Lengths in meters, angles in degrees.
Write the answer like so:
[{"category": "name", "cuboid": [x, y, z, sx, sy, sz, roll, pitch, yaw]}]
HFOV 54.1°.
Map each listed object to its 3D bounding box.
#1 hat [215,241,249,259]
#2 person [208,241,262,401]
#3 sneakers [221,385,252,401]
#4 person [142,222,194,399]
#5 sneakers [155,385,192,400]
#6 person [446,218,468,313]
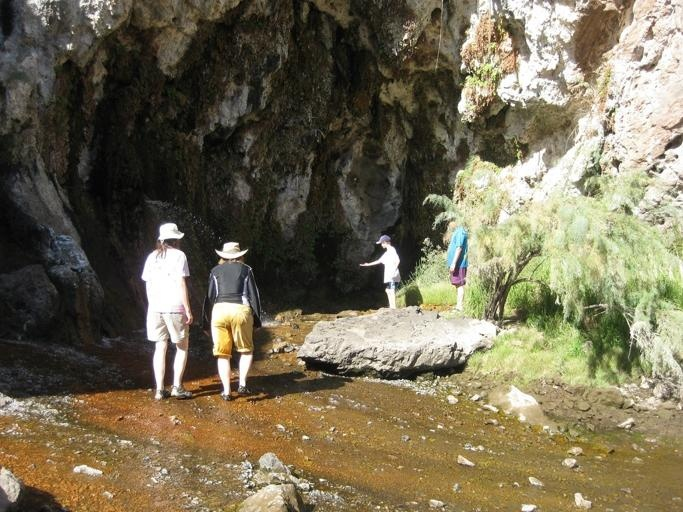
[{"category": "hat", "cuboid": [-1.290, -0.053, 8.205, 0.320, 0.157, 0.361, 1, 1, 30]}, {"category": "person", "cuboid": [-1.330, 0.796, 8.135, 0.669, 1.845, 0.799, 2, 13, -12]}, {"category": "sneakers", "cuboid": [-1.264, 1.650, 8.101, 0.371, 0.188, 0.141, 5, -5, -37]}, {"category": "person", "cuboid": [-2.032, 0.661, 7.847, 0.531, 2.016, 0.551, 0, 13, -21]}, {"category": "sneakers", "cuboid": [-1.967, 1.614, 7.848, 0.410, 0.206, 0.159, -1, 2, -14]}, {"category": "person", "cuboid": [1.957, 0.167, 11.153, 0.351, 1.417, 0.532, 7, 13, 10]}]
